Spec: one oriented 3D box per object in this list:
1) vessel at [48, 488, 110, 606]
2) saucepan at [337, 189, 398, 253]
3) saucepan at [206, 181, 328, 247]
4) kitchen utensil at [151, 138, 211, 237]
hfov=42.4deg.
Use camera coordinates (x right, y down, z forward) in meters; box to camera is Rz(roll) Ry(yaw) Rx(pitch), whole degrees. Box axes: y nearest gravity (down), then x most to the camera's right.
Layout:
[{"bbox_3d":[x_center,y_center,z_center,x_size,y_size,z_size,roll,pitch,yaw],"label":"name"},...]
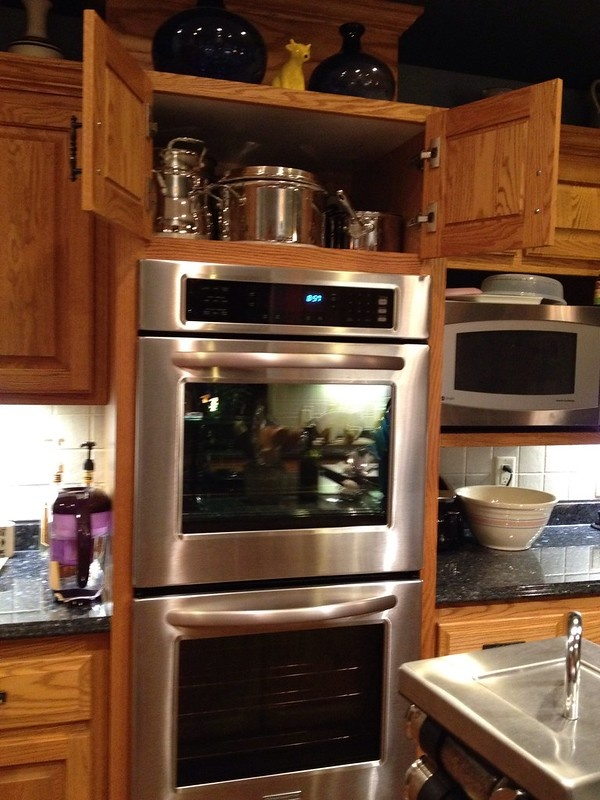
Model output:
[{"bbox_3d":[-0.450,0.323,1.695,0.182,0.218,0.176,2,-7,-29],"label":"vessel"},{"bbox_3d":[0.140,-0.419,1.822,0.188,0.151,0.100,0,4,-21],"label":"saucepan"},{"bbox_3d":[-0.082,-0.421,1.725,0.254,0.132,0.228,3,9,15],"label":"saucepan"},{"bbox_3d":[-0.235,-0.438,1.602,0.155,0.203,0.088,-3,12,-32],"label":"kitchen utensil"}]
